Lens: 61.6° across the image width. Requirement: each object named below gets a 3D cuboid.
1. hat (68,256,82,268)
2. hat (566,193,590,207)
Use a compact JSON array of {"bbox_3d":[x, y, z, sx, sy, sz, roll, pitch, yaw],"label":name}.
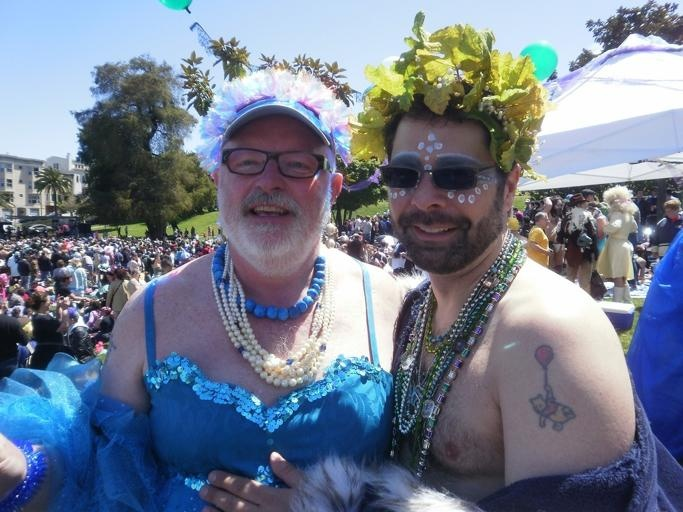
[{"bbox_3d":[-6.576,0.142,13.964,0.345,0.402,0.485,2,-8,-27],"label":"hat"},{"bbox_3d":[3.730,-0.816,9.016,0.272,0.113,0.244,-20,21,47],"label":"hat"}]
